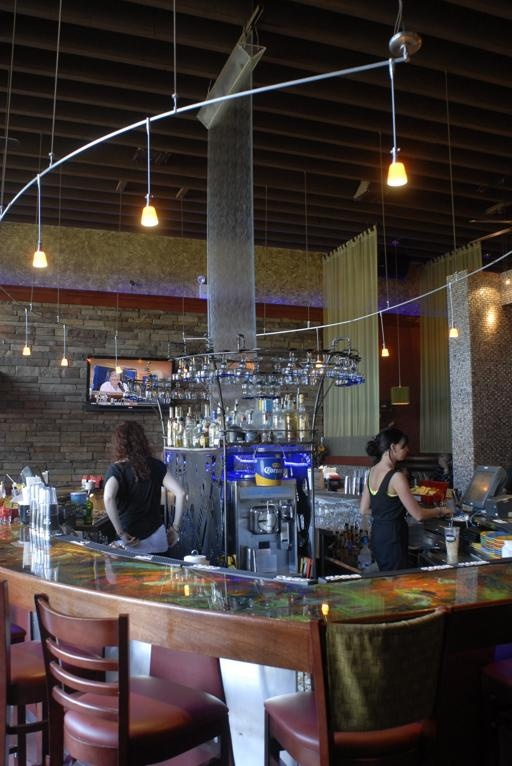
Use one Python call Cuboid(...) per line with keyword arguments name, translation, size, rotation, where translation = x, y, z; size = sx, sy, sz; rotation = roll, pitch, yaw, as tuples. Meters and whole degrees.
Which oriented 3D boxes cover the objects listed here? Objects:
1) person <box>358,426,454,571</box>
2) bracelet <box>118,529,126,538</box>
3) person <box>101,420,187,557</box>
Cuboid(name="person", translation=(0.804, 0.830, 3.701), size=(0.388, 1.114, 0.404), rotation=(-7, 10, -33))
Cuboid(name="bracelet", translation=(-0.802, 0.894, 3.878), size=(0.051, 0.054, 0.051), rotation=(-7, -14, 33))
Cuboid(name="person", translation=(-0.695, 0.664, 4.029), size=(0.281, 0.857, 0.622), rotation=(-2, -3, 27))
